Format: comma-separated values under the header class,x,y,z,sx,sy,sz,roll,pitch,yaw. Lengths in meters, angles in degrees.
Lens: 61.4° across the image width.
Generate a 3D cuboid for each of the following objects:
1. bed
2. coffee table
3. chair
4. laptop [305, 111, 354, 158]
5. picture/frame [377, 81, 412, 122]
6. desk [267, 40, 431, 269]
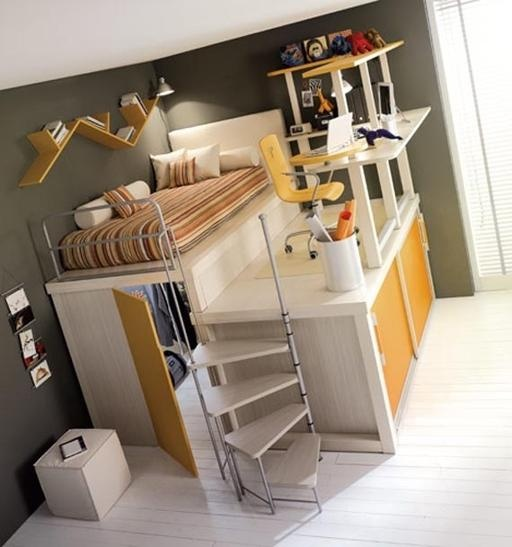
class,x,y,z,sx,sy,sz,roll,pitch,yaw
bed,-0.444,-0.615,3.540,1.249,0.988,2.251,4,24,22
coffee table,-1.018,1.180,2.582,0.499,0.352,0.492,-18,12,-31
chair,0.397,-0.621,3.353,0.595,0.862,0.553,3,23,21
laptop,0.440,-0.757,2.435,0.170,0.144,0.250,13,28,28
picture/frame,1.051,-1.383,3.408,0.139,0.245,0.191,-22,34,-15
desk,0.751,-0.950,3.342,0.679,1.379,1.625,-7,31,24
